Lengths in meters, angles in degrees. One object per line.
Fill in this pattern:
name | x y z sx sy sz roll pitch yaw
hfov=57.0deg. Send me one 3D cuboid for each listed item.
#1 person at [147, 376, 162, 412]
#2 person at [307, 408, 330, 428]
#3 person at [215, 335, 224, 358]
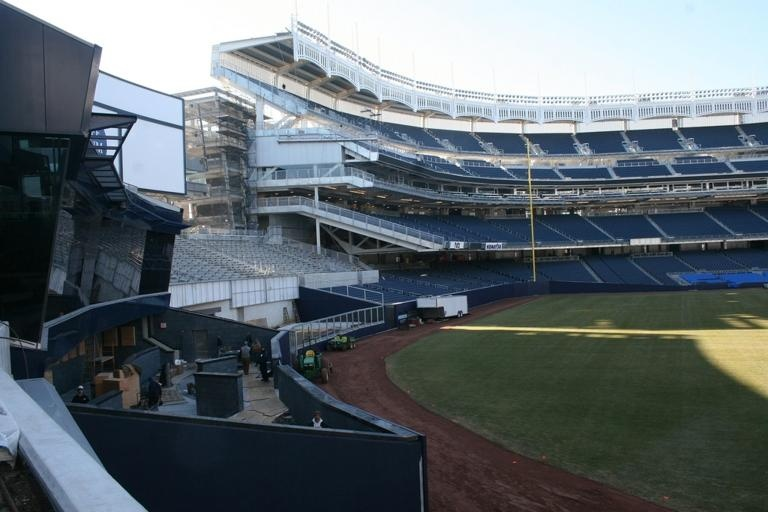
person | -7.960 4.697 24.117 0.558 1.255 0.185 22 -52 -33
person | -1.856 4.586 20.005 0.793 0.646 0.429 -1 -5 -11
person | -7.074 3.818 30.322 0.329 0.800 0.838 -2 -3 -16
